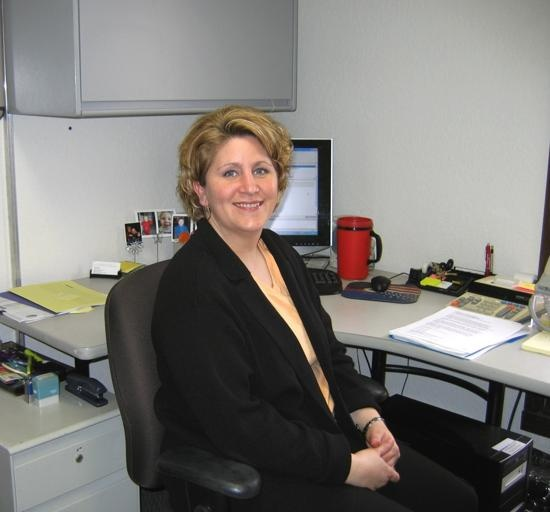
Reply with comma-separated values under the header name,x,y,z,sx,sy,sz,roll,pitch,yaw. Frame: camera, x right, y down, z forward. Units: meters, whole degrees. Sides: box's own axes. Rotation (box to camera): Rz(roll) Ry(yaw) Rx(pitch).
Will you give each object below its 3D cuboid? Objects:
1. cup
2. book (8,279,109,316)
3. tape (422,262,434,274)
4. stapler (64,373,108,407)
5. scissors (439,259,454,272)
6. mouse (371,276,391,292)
name,x,y,z,sx,sy,sz,roll,pitch,yaw
cup,0.324,-0.025,2.026,0.162,0.255,0.134,1,19,-5
book,-0.733,0.142,1.660,0.445,0.028,0.321,7,10,36
tape,0.604,0.050,1.986,0.022,0.024,0.071,7,15,35
stapler,-0.549,0.377,1.470,0.194,0.062,0.052,12,17,43
scissors,0.667,0.044,1.952,0.045,0.055,0.021,20,-8,8
mouse,0.372,0.095,1.762,0.061,0.048,0.042,9,23,15
